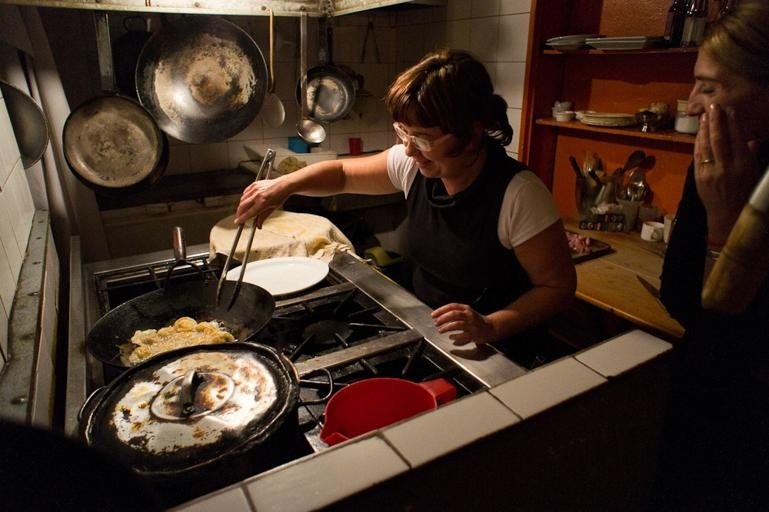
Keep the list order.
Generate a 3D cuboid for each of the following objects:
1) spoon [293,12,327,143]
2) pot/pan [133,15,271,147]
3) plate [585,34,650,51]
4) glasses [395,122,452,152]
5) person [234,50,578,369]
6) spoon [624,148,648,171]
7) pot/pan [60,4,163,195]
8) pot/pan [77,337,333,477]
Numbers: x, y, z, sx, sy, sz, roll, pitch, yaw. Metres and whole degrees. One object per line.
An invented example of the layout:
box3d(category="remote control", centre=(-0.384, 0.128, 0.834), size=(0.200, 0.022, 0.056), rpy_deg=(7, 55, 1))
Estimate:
box3d(category="spoon", centre=(-0.406, -0.961, 2.912), size=(0.141, 0.708, 0.169), rpy_deg=(-2, 7, -21))
box3d(category="pot/pan", centre=(-0.586, -0.578, 1.716), size=(0.406, 0.446, 0.224), rpy_deg=(-7, 20, -33))
box3d(category="plate", centre=(1.015, -0.932, 2.329), size=(0.082, 0.060, 0.292), rpy_deg=(-16, 30, -19))
box3d(category="glasses", centre=(0.089, -0.317, 1.434), size=(0.101, 0.030, 0.099), rpy_deg=(-20, 45, -32))
box3d(category="person", centre=(0.105, -0.187, 1.924), size=(0.975, 1.587, 0.483), rpy_deg=(14, 24, 34))
box3d(category="spoon", centre=(1.221, -0.456, 2.594), size=(0.085, 0.115, 0.154), rpy_deg=(14, 33, 32))
box3d(category="pot/pan", centre=(-0.876, -0.467, 1.686), size=(0.337, 0.593, 0.086), rpy_deg=(-9, 28, -19))
box3d(category="pot/pan", centre=(-0.363, 0.267, 1.025), size=(0.374, 0.061, 0.353), rpy_deg=(-28, 36, -36))
